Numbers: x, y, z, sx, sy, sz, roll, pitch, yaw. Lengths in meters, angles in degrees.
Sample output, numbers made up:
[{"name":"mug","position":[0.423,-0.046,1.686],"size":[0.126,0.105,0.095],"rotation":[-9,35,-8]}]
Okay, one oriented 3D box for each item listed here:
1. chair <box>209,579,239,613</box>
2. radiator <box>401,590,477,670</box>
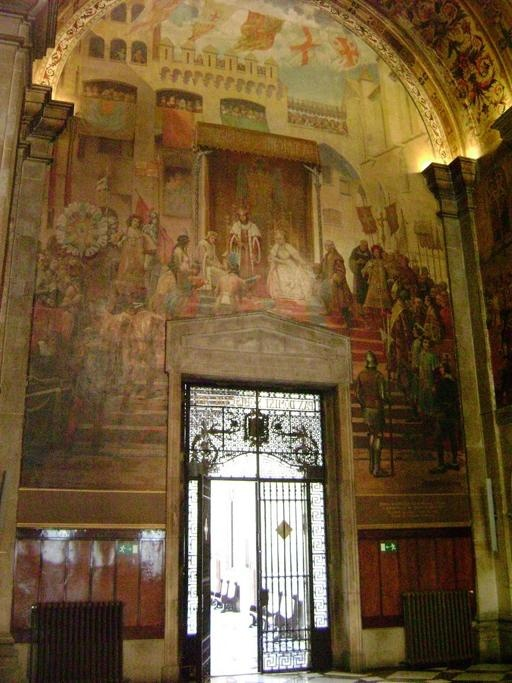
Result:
[{"name":"chair","position":[-0.779,6.515,16.172],"size":[0.697,0.711,1.446],"rotation":[1,-19,-4]},{"name":"radiator","position":[2.554,4.154,9.009],"size":[0.932,0.806,0.203],"rotation":[3,-15,-10]}]
